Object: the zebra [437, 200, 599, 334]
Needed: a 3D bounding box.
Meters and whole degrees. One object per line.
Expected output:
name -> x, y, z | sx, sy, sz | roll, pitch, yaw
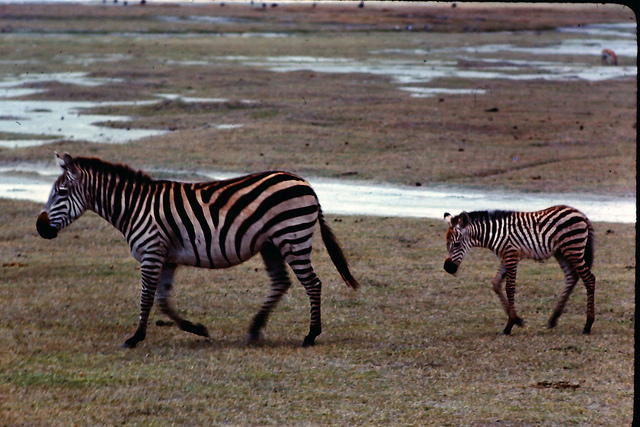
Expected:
zebra -> 6.642, 1.073, 36.165 | 6.958, 4.319, 1.958 | -1, -3, -4
